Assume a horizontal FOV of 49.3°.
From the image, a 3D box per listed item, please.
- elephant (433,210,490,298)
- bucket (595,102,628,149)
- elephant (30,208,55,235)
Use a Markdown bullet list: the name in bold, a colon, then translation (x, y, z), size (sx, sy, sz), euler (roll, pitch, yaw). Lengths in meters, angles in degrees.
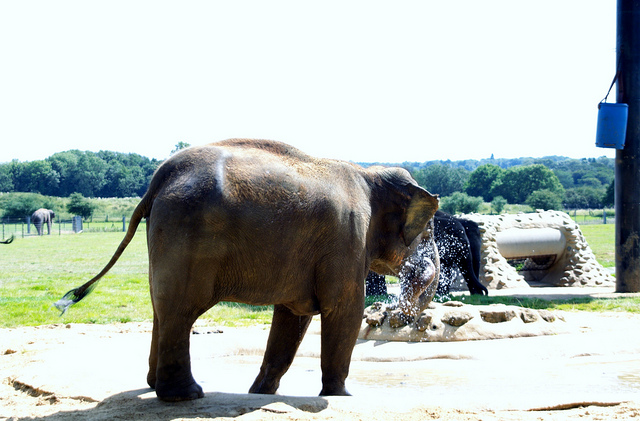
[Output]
- **elephant**: translation (3.491, 1.066, 17.502), size (1.330, 2.080, 0.999), euler (0, -1, 5)
- **bucket**: translation (7.335, -2.128, 17.376), size (0.754, 1.169, 0.681), euler (4, 0, 31)
- **elephant**: translation (-21.497, 0.923, 53.545), size (1.566, 2.218, 3.600), euler (2, 4, 2)
